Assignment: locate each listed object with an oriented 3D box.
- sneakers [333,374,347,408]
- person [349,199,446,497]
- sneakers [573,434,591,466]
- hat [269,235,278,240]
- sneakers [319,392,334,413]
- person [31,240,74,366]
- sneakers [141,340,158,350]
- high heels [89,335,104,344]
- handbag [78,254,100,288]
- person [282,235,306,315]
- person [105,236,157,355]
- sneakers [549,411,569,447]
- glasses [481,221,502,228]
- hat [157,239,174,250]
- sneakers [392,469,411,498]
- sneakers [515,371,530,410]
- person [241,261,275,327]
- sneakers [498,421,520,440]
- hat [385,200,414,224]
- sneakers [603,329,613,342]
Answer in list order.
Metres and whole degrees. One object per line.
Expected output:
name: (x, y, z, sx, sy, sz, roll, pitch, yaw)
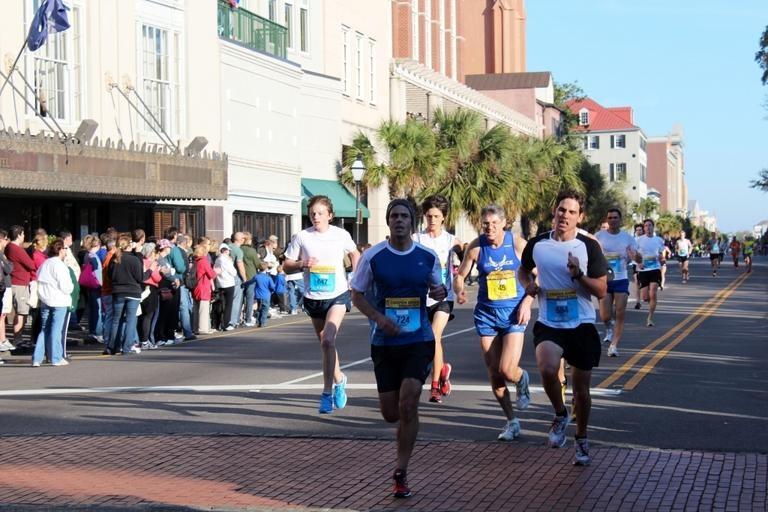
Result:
sneakers: (-0.617, 1.877, 13.181, 0.155, 0.487, 0.200, -5, 0, 28)
person: (0.187, 0.958, 10.341, 0.823, 3.039, 0.799, -1, 0, 40)
sneakers: (2.266, 2.203, 10.858, 0.194, 0.285, 0.237, -1, 1, 11)
hat: (-2.906, -0.472, 25.399, 0.326, 0.116, 0.353, -1, 1, -17)
sneakers: (-0.762, 2.006, 13.071, 0.197, 0.274, 0.287, -2, 1, -3)
person: (-5.962, 0.848, 17.233, 0.624, 2.379, 0.683, -2, 0, -37)
sneakers: (-4.779, 1.838, 19.582, 0.330, 0.158, 0.130, 2, 5, -10)
high heels: (-6.222, 1.805, 20.880, 0.204, 0.175, 0.462, -8, -17, 26)
handbag: (-6.365, 0.443, 20.529, 0.502, 0.951, 0.850, 2, -4, -15)
person: (-2.495, 0.589, 26.654, 0.592, 1.900, 0.531, -9, -2, 4)
person: (-5.034, 0.746, 18.809, 0.828, 2.399, 0.878, -2, 0, -14)
sneakers: (2.066, 2.071, 11.324, 0.184, 0.519, 0.213, 4, -18, 34)
glasses: (1.414, -0.399, 12.388, 0.262, 0.091, 0.224, -1, 1, 18)
hat: (-4.636, -0.253, 20.383, 0.275, 0.196, 0.383, -2, 1, -18)
sneakers: (0.208, 2.374, 10.010, 0.179, 0.300, 0.160, -1, 0, -3)
sneakers: (1.801, 1.776, 12.469, 0.247, 0.597, 0.192, 5, -5, -45)
person: (-3.087, 0.938, 23.710, 0.641, 1.573, 0.705, -1, 0, 16)
sneakers: (1.585, 2.154, 11.833, 0.139, 0.187, 0.394, -3, -2, 29)
hat: (0.195, -0.482, 10.405, 0.225, 0.289, 0.305, 4, 3, 8)
sneakers: (4.372, 1.558, 18.675, 0.181, 0.238, 0.539, 1, 3, 21)
